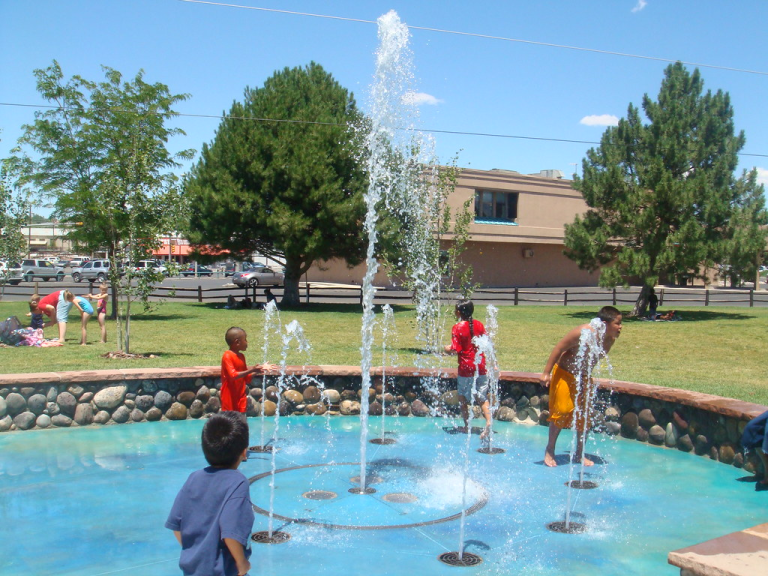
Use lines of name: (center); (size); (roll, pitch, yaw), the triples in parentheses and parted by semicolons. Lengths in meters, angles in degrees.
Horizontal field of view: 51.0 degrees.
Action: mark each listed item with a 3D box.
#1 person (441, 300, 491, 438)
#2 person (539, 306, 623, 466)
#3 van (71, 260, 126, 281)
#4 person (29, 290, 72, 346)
person: (1.336, 1.280, 12.647); (0.681, 2.111, 0.686); (0, 8, 1)
person: (2.771, 1.406, 11.383); (1.016, 2.348, 1.099); (2, 9, 14)
van: (-20.281, -1.187, 55.927); (2.163, 1.103, 6.282); (-3, 10, -21)
person: (-7.885, 0.713, 19.151); (0.943, 1.297, 0.683); (-17, 24, -38)
